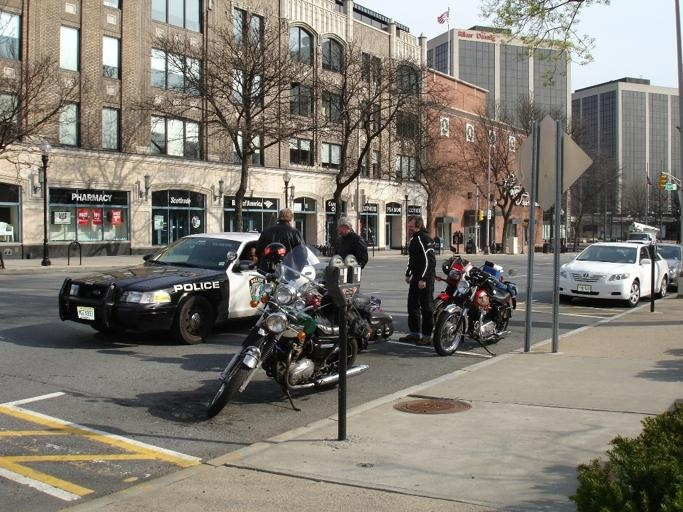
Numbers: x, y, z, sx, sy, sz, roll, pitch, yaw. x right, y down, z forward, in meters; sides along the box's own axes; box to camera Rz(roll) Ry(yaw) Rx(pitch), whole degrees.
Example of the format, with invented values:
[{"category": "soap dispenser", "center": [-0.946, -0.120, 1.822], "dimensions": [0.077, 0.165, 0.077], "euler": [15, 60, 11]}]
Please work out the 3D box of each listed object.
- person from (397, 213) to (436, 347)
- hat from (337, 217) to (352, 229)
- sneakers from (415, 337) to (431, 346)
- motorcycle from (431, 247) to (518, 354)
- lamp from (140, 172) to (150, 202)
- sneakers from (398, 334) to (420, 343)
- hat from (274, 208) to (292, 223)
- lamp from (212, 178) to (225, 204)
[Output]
[{"category": "person", "center": [1.308, 0.409, 12.553], "dimensions": [0.559, 2.161, 1.031], "euler": [1, 7, 6]}, {"category": "hat", "center": [0.039, -0.550, 11.890], "dimensions": [0.148, 0.193, 0.194], "euler": [1, 29, -11]}, {"category": "sneakers", "center": [1.380, 1.414, 12.526], "dimensions": [0.124, 0.146, 0.230], "euler": [-4, -10, 27]}, {"category": "motorcycle", "center": [2.103, 0.789, 12.149], "dimensions": [2.011, 1.559, 0.612], "euler": [-6, 9, -44]}, {"category": "lamp", "center": [-10.473, -3.692, 39.365], "dimensions": [0.611, 1.420, 1.456], "euler": [-1, 7, -15]}, {"category": "sneakers", "center": [1.133, 1.393, 12.725], "dimensions": [0.383, 0.176, 0.140], "euler": [4, -5, -14]}, {"category": "hat", "center": [-1.037, -0.734, 13.030], "dimensions": [0.227, 0.278, 0.272], "euler": [2, 14, 1]}, {"category": "lamp", "center": [-7.241, -3.876, 43.598], "dimensions": [0.675, 1.377, 1.239], "euler": [-1, 7, -10]}]
